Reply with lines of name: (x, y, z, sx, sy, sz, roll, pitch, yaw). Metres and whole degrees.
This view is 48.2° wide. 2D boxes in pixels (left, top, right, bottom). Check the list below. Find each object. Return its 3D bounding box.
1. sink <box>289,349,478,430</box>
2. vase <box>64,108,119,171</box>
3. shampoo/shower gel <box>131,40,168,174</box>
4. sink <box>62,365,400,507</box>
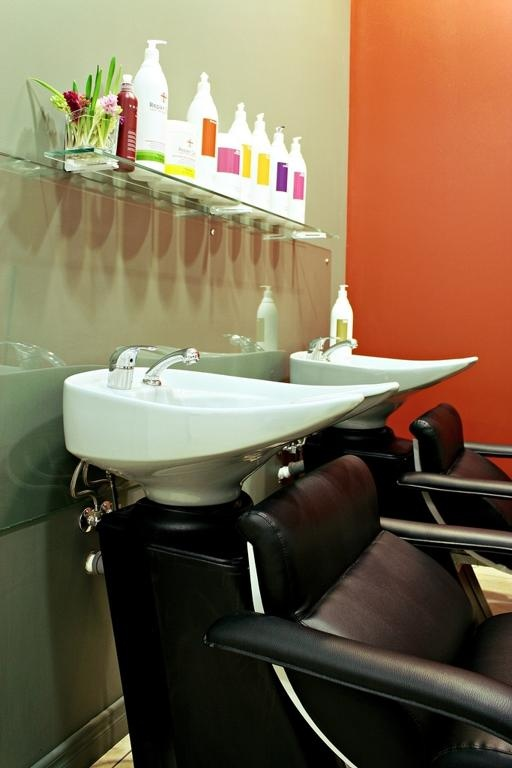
sink: (0.384, -0.022, 1.859, 0.510, 0.222, 0.321, 0, 2, 24)
vase: (-0.306, -0.430, 1.047, 0.096, 0.104, 0.094, 12, -32, -24)
shampoo/shower gel: (-0.222, -0.574, 1.195, 0.067, 0.277, 0.161, 0, 6, -8)
sink: (-0.085, 0.020, 0.942, 0.494, 0.211, 0.295, 6, 9, 29)
